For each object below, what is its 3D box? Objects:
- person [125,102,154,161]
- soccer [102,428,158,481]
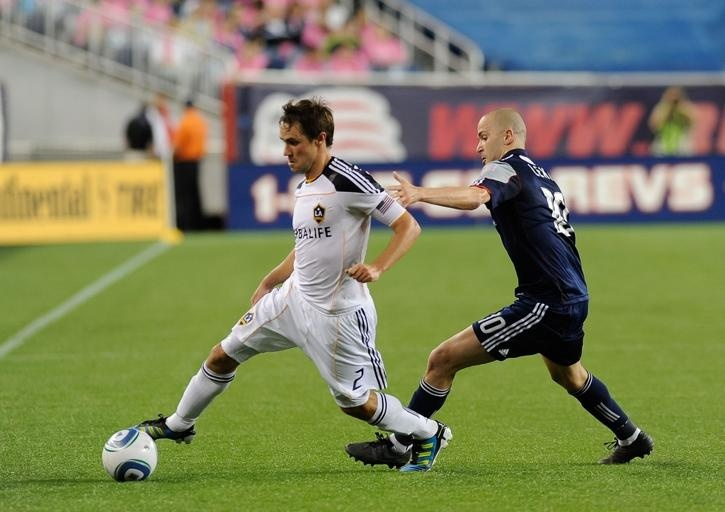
[{"bbox_3d":[-3.755,-2.048,19.436,0.698,1.011,0.280,-2,-6,41],"label":"person"},{"bbox_3d":[-2.075,1.780,10.519,0.419,0.443,0.473,5,45,13],"label":"soccer"}]
